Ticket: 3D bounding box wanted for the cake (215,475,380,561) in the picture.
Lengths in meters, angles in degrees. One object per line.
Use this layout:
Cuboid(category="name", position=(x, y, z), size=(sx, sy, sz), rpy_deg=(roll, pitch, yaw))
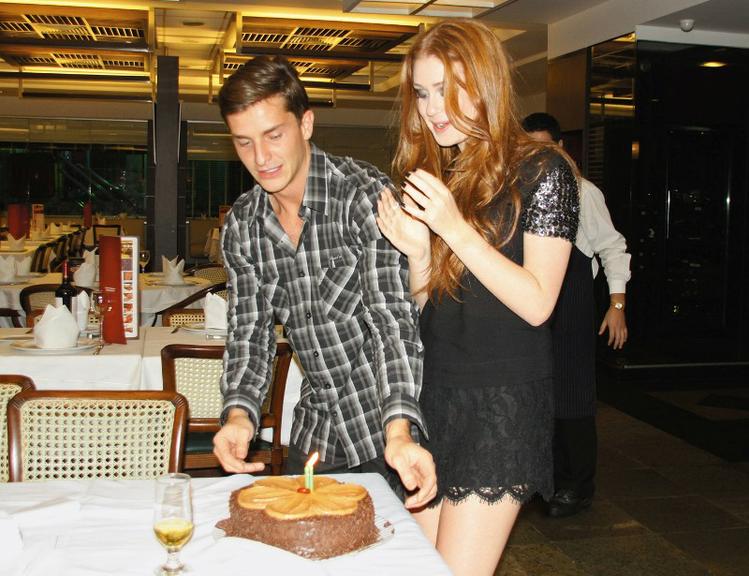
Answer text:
Cuboid(category="cake", position=(-0.146, 0.461, 1.218), size=(0.305, 0.080, 0.231), rpy_deg=(4, 7, 35))
